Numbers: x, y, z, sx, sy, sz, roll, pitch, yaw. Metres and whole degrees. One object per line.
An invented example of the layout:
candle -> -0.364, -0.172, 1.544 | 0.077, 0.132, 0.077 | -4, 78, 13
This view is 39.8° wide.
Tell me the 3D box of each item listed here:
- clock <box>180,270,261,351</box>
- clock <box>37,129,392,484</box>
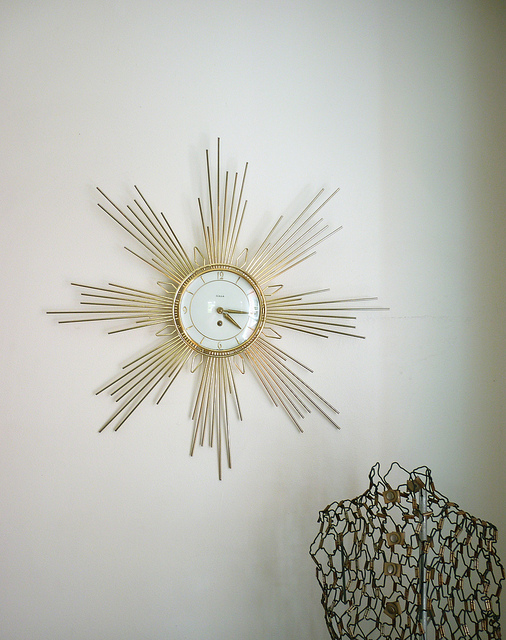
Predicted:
clock -> -0.089, -0.023, 1.827 | 0.209, 0.021, 0.207 | -1, -94, 2
clock -> -0.129, 0.005, 1.854 | 0.927, 0.033, 0.916 | -2, -92, 2
